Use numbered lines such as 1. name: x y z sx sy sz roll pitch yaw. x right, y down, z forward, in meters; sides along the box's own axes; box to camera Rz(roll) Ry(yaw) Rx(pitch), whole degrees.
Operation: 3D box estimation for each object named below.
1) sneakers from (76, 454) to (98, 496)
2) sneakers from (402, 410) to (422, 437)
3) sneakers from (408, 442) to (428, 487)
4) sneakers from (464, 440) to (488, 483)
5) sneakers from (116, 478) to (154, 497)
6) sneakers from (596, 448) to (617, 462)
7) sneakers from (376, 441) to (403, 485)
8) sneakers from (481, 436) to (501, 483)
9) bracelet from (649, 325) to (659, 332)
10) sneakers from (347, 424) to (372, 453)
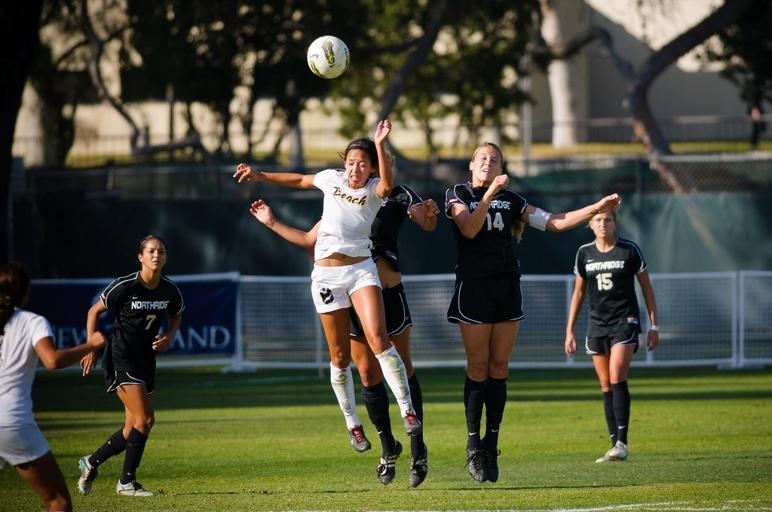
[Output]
1. sneakers: -3.041 2.223 13.780 0.203 0.427 0.151 -12 -11 39
2. sneakers: 0.240 1.652 13.409 0.117 0.133 0.310 -17 -6 -6
3. sneakers: 0.302 2.092 13.658 0.158 0.441 0.173 1 -6 27
4. sneakers: 0.888 2.050 13.717 0.218 0.203 0.532 7 31 -14
5. sneakers: -2.535 2.330 13.715 0.384 0.156 0.150 2 -1 8
6. sneakers: 2.250 2.098 14.305 0.291 0.126 0.100 -5 -1 -8
7. sneakers: 0.019 2.119 13.735 0.179 0.514 0.226 9 -8 37
8. sneakers: 1.029 2.063 13.785 0.160 0.428 0.165 -6 -13 -15
9. bracelet: 2.820 0.768 14.503 0.091 0.059 0.120 6 -2 7
10. sneakers: -0.332 1.853 13.925 0.148 0.184 0.400 -29 41 -3
